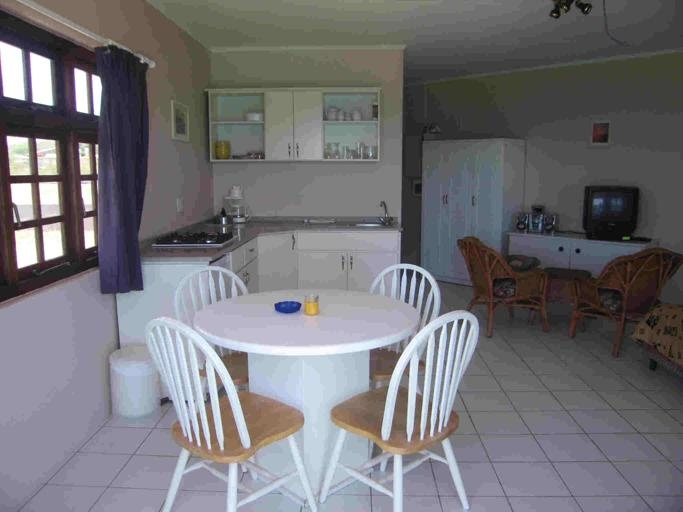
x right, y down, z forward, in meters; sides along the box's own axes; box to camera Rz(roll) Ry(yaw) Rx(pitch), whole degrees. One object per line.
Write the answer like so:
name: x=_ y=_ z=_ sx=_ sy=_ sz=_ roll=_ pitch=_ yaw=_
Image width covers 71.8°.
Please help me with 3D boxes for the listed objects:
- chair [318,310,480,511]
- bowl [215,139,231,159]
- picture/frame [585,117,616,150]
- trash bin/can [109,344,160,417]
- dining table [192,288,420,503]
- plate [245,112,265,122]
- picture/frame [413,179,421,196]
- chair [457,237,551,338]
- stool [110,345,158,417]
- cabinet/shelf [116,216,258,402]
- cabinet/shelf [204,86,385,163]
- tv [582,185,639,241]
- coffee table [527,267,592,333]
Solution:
chair: x=0.398 y=0.753 z=2.623 sx=0.735 sy=1.140 sz=1.082 roll=6 pitch=12 yaw=23
bowl: x=-1.350 y=-1.217 z=5.393 sx=0.190 sy=0.209 sz=0.191 roll=1 pitch=17 yaw=0
picture/frame: x=3.309 y=-1.565 z=6.006 sx=0.263 sy=0.341 sz=0.039 roll=7 pitch=13 yaw=29
trash bin/can: x=-1.396 y=0.903 z=3.448 sx=0.364 sy=0.462 sz=0.425 roll=1 pitch=8 yaw=-3
dining table: x=-0.222 y=0.588 z=2.818 sx=1.083 sy=0.799 sz=1.095 roll=-1 pitch=11 yaw=-5
plate: x=-0.996 y=-1.596 z=5.410 sx=0.183 sy=0.125 sz=0.246 roll=-2 pitch=11 yaw=-19
picture/frame: x=1.185 y=-1.073 z=7.387 sx=0.146 sy=0.251 sz=0.079 roll=4 pitch=11 yaw=13
chair: x=1.657 y=0.281 z=5.267 sx=1.019 sy=1.256 sz=0.907 roll=-5 pitch=9 yaw=-9
stool: x=-1.429 y=0.904 z=3.447 sx=0.365 sy=0.458 sz=0.427 roll=2 pitch=6 yaw=2
cabinet/shelf: x=-0.948 y=0.532 z=3.292 sx=0.525 sy=0.802 sz=0.428 roll=-30 pitch=35 yaw=-35
cabinet/shelf: x=-0.543 y=-1.499 z=5.416 sx=1.956 sy=0.853 sz=0.288 roll=1 pitch=11 yaw=-1
tv: x=3.258 y=-0.501 z=5.664 sx=0.660 sy=0.767 sz=0.410 roll=1 pitch=2 yaw=17
coffee table: x=2.225 y=0.517 z=5.087 sx=0.681 sy=0.766 sz=0.680 roll=2 pitch=7 yaw=20
